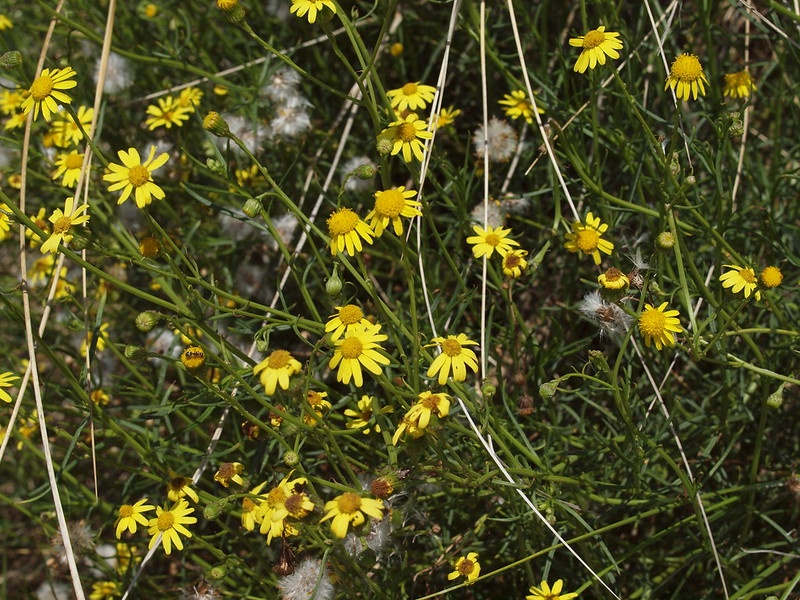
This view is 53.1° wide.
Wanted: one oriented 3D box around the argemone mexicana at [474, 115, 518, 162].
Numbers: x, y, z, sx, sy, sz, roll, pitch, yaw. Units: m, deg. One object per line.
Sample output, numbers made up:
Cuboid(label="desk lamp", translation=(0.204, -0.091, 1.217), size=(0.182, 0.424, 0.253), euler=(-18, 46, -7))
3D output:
Cuboid(label="argemone mexicana", translation=(0.470, -0.810, 4.002), size=(0.192, 0.163, 0.224), euler=(4, 40, 25))

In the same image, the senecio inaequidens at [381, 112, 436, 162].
Cuboid(label="senecio inaequidens", translation=(0.024, -0.670, 3.251), size=(0.181, 0.262, 0.187), euler=(-12, 20, -33))

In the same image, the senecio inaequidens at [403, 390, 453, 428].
Cuboid(label="senecio inaequidens", translation=(0.114, 0.415, 3.074), size=(0.145, 0.074, 0.173), euler=(31, 73, 24))

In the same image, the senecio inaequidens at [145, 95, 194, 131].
Cuboid(label="senecio inaequidens", translation=(-1.257, -0.988, 4.320), size=(0.208, 0.053, 0.243), euler=(9, 63, 13))

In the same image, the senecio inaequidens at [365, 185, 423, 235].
Cuboid(label="senecio inaequidens", translation=(-0.026, -0.338, 3.059), size=(0.184, 0.071, 0.200), euler=(-29, 57, -5))

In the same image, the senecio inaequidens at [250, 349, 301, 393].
Cuboid(label="senecio inaequidens", translation=(-0.460, 0.269, 2.958), size=(0.145, 0.094, 0.167), euler=(-14, 54, -2))

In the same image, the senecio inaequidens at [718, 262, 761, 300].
Cuboid(label="senecio inaequidens", translation=(1.330, -0.074, 3.112), size=(0.132, 0.062, 0.147), euler=(-1, 38, -16))

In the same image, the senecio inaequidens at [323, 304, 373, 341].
Cuboid(label="senecio inaequidens", translation=(-0.210, 0.092, 3.047), size=(0.132, 0.053, 0.146), euler=(5, 41, 36))

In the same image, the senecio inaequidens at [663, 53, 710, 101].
Cuboid(label="senecio inaequidens", translation=(1.130, -0.870, 3.075), size=(0.171, 0.185, 0.070), euler=(0, 63, -27))
